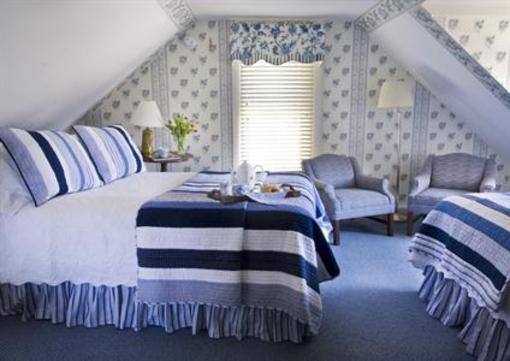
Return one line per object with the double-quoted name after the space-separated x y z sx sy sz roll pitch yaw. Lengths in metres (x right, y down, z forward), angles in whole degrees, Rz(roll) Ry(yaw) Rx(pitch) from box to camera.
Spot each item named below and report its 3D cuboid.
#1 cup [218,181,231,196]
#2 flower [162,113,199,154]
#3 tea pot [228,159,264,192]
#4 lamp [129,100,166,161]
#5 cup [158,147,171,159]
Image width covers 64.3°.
-0.250 0.063 3.307 0.097 0.108 0.102 0 1 0 "cup"
-0.980 -0.605 5.492 0.502 0.691 0.519 0 6 11 "flower"
-0.052 -0.032 3.553 0.374 0.403 0.268 -1 -1 -8 "tea pot"
-1.328 -0.689 5.442 0.593 1.089 0.632 0 10 -14 "lamp"
-1.145 -0.344 5.101 0.125 0.129 0.142 6 19 1 "cup"
